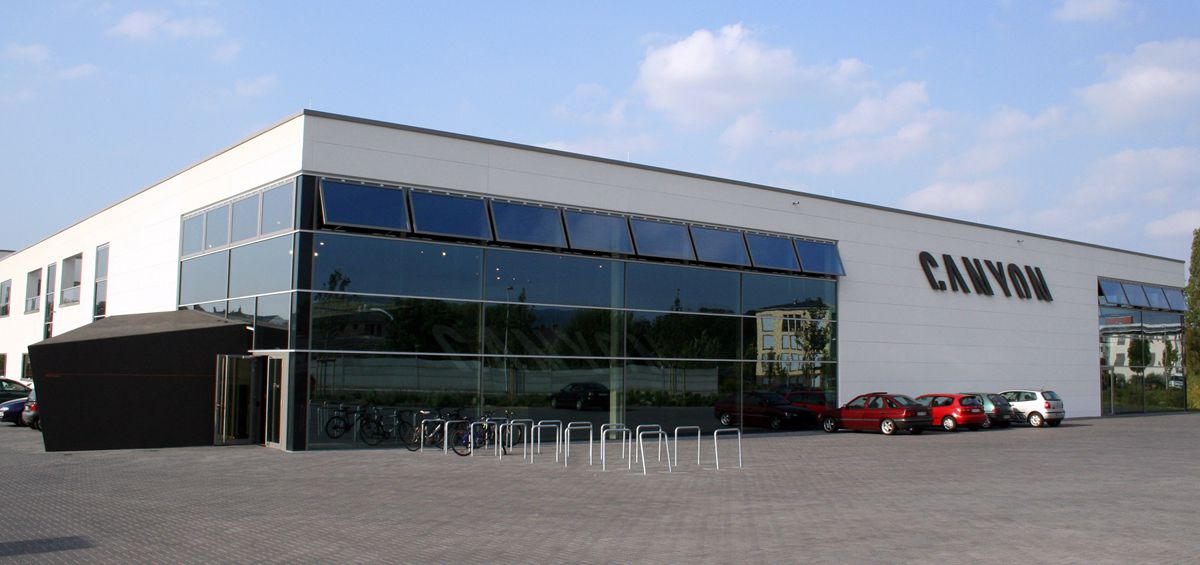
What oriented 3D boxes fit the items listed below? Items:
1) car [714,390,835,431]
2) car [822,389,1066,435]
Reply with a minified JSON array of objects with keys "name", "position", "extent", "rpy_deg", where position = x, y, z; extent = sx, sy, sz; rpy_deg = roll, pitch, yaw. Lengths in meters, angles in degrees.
[{"name":"car","position":[8.270,6.374,41.515],"extent":[2.939,2.006,6.840],"rpy_deg":[3,-5,-44]},{"name":"car","position":[17.487,6.769,42.946],"extent":[10.959,2.307,3.828],"rpy_deg":[-1,-1,3]}]
